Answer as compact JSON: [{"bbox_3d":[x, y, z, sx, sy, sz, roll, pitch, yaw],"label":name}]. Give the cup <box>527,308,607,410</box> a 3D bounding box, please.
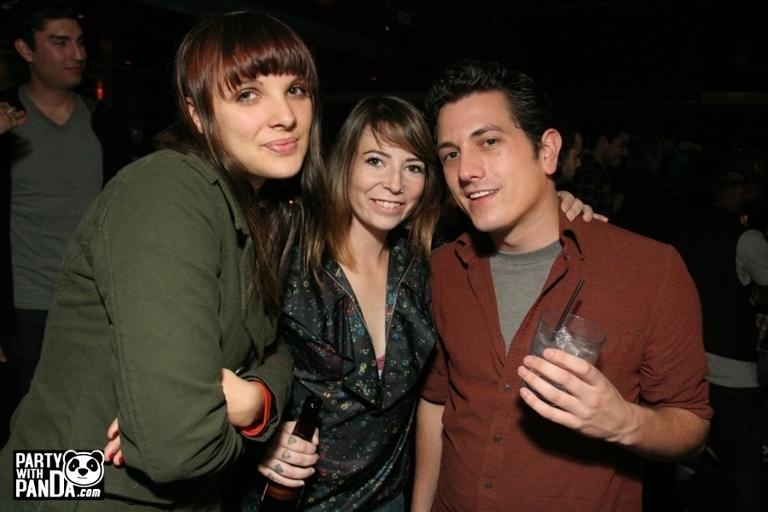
[{"bbox_3d":[0.773,0.421,2.699,0.307,0.342,0.331,25,9,-4],"label":"cup"}]
